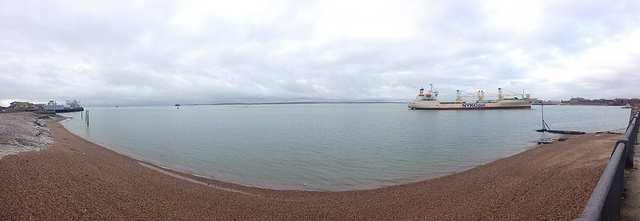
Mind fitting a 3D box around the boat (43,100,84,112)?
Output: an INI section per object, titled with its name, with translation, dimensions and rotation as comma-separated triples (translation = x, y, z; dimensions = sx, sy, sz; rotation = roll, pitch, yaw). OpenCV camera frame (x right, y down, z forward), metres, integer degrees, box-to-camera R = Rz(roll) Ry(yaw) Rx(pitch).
[boat]
translation = -148.180, -1.820, 162.490
dimensions = 27.612, 5.479, 16.572
rotation = -2, -2, 28
